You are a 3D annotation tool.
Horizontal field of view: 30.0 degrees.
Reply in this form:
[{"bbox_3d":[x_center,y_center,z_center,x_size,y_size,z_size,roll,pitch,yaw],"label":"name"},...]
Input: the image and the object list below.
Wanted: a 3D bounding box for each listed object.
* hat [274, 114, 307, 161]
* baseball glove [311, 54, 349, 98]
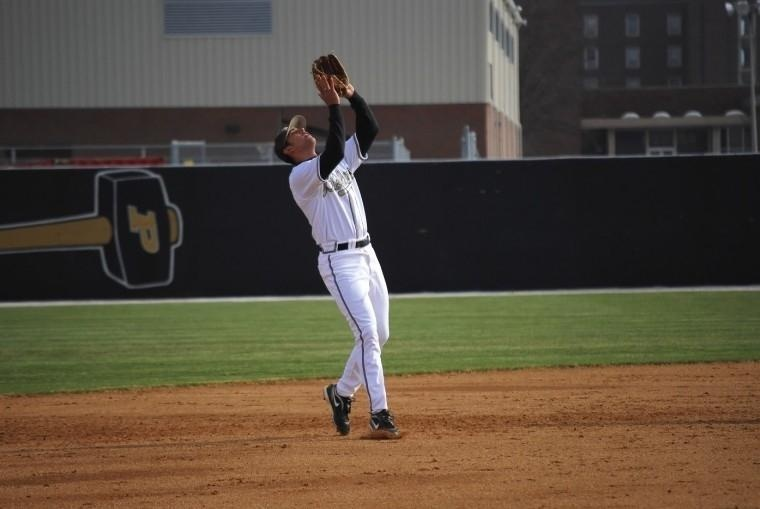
[{"bbox_3d":[-1.840,-2.286,27.550,0.427,0.875,0.637,12,25,-12],"label":"hat"},{"bbox_3d":[-0.999,-3.629,27.597,0.750,0.194,0.549,23,-30,-39],"label":"baseball glove"}]
